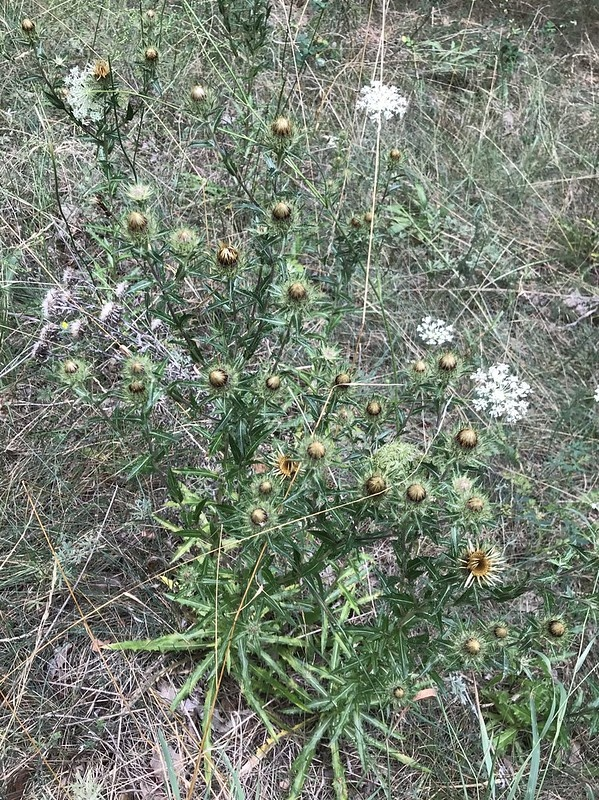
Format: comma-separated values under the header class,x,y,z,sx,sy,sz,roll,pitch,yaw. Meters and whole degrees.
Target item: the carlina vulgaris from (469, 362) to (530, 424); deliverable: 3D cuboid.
class,x,y,z,sx,sy,sz,roll,pitch,yaw
carlina vulgaris,1.052,-0.025,3.776,0.314,0.072,0.301,-31,79,-25
